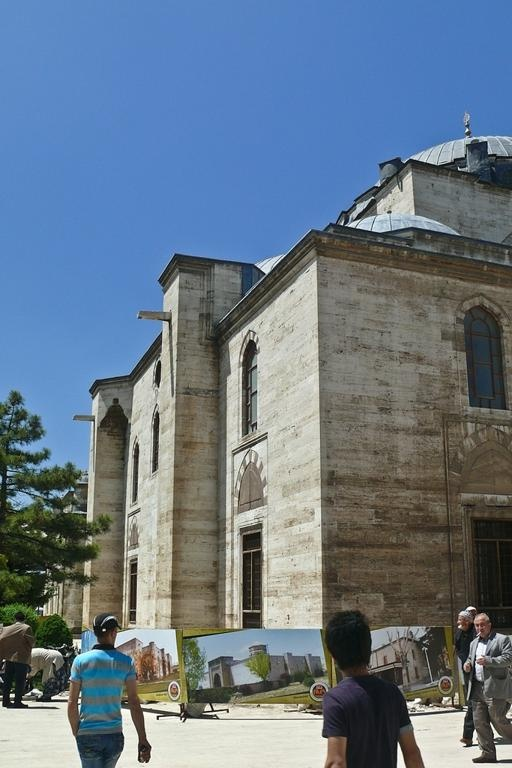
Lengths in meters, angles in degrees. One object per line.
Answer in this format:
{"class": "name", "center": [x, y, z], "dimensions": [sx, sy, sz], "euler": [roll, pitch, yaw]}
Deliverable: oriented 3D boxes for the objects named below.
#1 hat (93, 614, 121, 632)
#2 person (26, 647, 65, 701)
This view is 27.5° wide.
{"class": "hat", "center": [-1.143, 1.815, 7.988], "dimensions": [0.225, 0.163, 0.359], "euler": [1, -12, 0]}
{"class": "person", "center": [-3.488, 4.698, 17.090], "dimensions": [0.740, 0.845, 0.485], "euler": [-3, -8, 3]}
